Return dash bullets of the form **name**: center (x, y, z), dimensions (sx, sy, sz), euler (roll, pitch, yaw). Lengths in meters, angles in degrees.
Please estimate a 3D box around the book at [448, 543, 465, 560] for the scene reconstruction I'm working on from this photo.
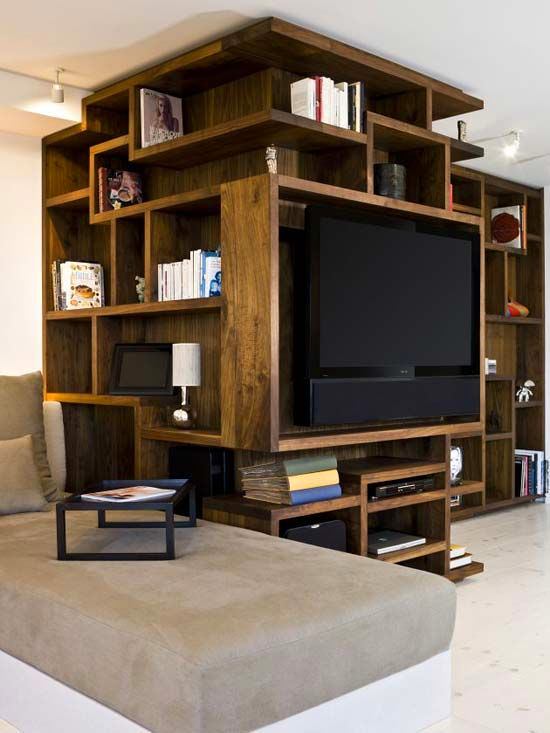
- **book**: center (0.906, 0.928, 3.262), dimensions (0.070, 0.016, 0.069), euler (-3, 3, -41)

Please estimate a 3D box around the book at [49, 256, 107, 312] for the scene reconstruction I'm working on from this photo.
- **book**: center (-1.095, -0.446, 3.566), dimensions (0.123, 0.331, 0.347), euler (2, 3, 40)

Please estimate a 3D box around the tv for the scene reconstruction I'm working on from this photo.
- **tv**: center (0.485, -0.240, 2.913), dimensions (1.164, 0.971, 0.227), euler (0, -1, -43)

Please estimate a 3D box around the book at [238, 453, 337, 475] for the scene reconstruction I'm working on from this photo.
- **book**: center (0.020, 0.394, 2.570), dimensions (0.185, 0.040, 0.183), euler (0, -2, -43)
